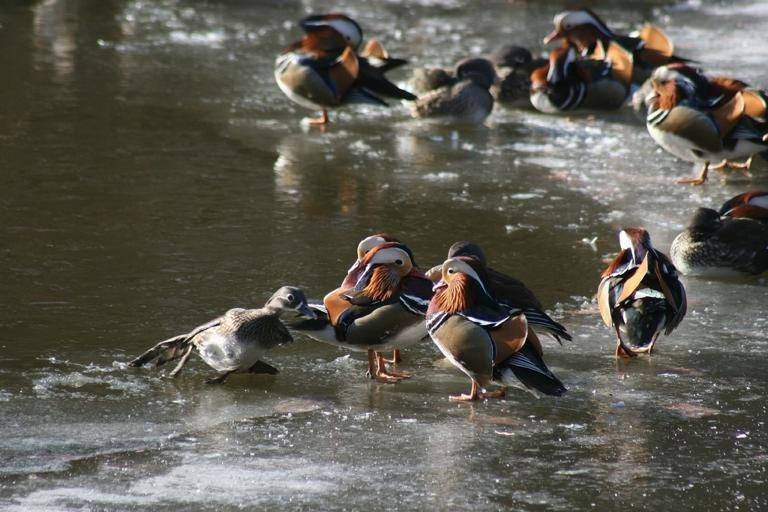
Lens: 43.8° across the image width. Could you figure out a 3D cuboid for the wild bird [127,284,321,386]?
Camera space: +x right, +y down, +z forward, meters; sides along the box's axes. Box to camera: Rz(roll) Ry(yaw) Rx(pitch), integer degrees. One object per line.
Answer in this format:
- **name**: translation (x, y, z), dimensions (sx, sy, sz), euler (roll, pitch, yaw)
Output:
- **wild bird**: translation (-1.291, 0.595, 7.224), dimensions (1.290, 0.480, 0.770), euler (6, -2, 18)
